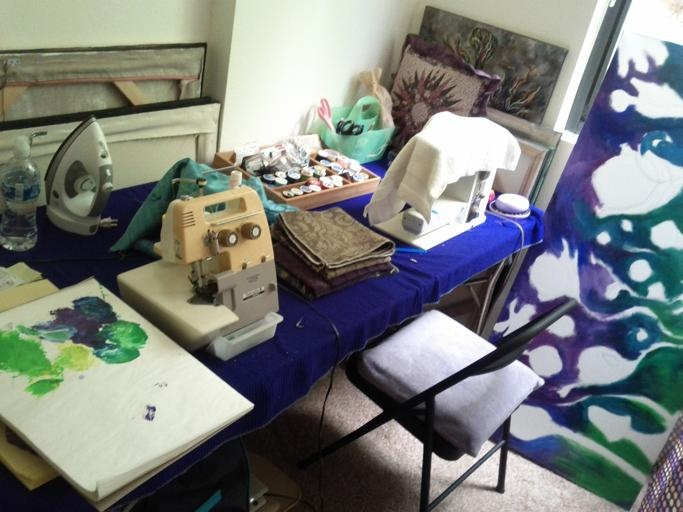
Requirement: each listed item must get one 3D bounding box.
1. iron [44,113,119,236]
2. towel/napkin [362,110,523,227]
[{"bbox_3d":[-0.936,-0.276,1.848,0.255,0.420,0.248,30,35,17],"label":"iron"},{"bbox_3d":[0.453,-0.424,2.218,0.537,0.494,0.622,19,32,28],"label":"towel/napkin"}]
